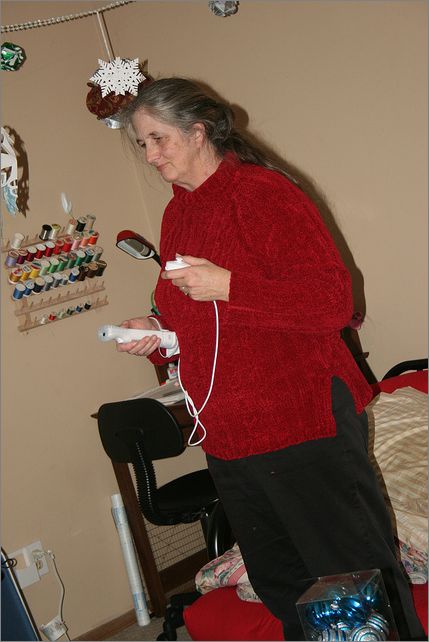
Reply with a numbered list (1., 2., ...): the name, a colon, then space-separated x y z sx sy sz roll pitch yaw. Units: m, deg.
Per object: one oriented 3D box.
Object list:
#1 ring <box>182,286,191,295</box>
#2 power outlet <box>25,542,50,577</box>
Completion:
1. ring: -0.043 -0.046 0.785 0.012 0.012 0.010 -26 -2 -1
2. power outlet: -0.727 0.971 2.097 0.051 0.165 0.120 -26 20 -16
